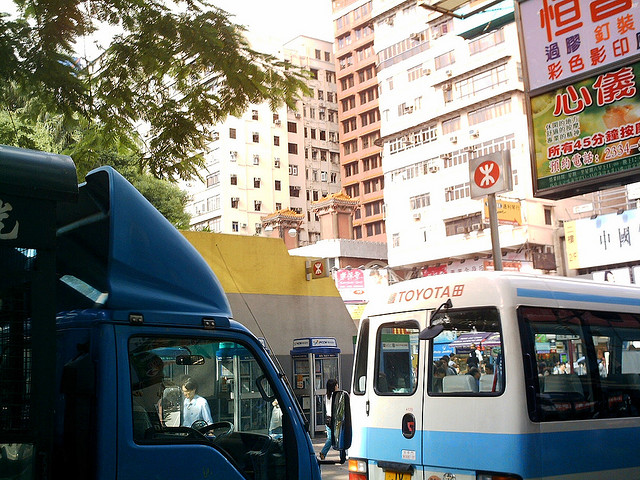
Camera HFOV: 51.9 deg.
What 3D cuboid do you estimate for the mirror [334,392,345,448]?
[{"bbox_3d":[0.165,1.526,5.569,0.092,0.451,0.146,-2,-15,2],"label":"mirror"}]

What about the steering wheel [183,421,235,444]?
[{"bbox_3d":[-0.763,1.429,4.877,0.059,0.155,0.295,-16,-21,42],"label":"steering wheel"}]

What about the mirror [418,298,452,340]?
[{"bbox_3d":[1.410,0.969,8.022,0.415,0.478,0.202,-3,-15,1],"label":"mirror"}]

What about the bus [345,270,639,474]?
[{"bbox_3d":[2.611,1.624,8.790,3.521,2.427,2.346,6,-12,-36],"label":"bus"}]
